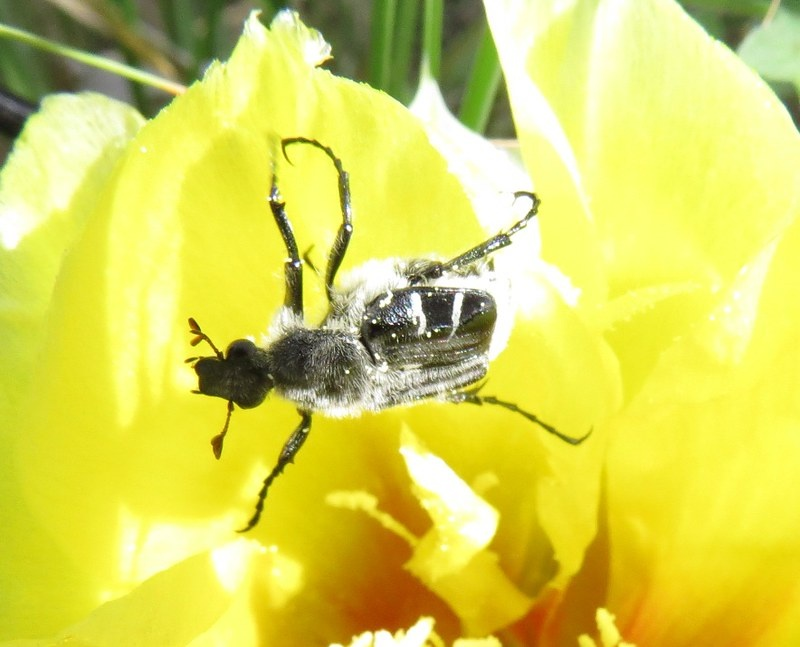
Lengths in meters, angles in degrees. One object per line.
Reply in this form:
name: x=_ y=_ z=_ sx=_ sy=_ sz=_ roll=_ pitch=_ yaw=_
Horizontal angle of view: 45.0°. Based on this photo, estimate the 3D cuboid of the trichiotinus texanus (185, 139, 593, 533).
trichiotinus texanus: x=0.000 y=0.013 z=0.587 sx=0.187 sy=0.064 sz=0.252 roll=-4 pitch=-65 yaw=3
